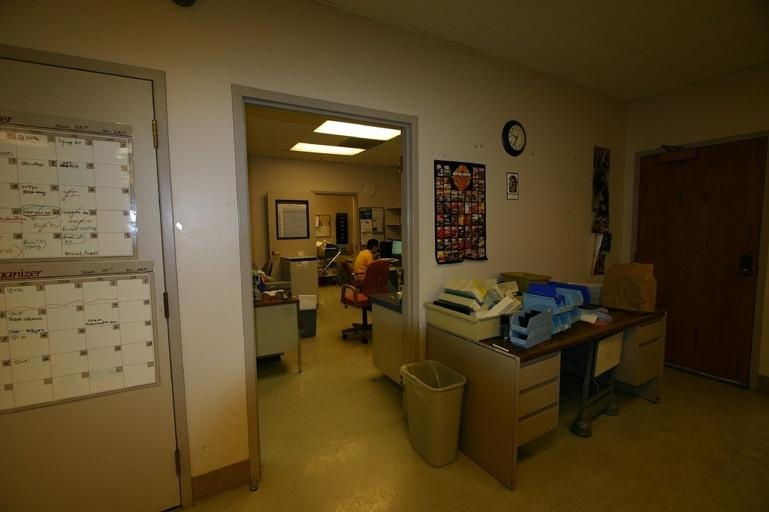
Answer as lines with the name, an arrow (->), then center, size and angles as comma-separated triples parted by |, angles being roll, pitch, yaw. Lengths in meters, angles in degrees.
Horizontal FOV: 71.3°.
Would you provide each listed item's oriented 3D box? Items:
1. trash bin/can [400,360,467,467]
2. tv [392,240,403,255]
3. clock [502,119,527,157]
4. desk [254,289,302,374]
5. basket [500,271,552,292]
trash bin/can -> 0.399, 1.316, 4.503 | 0.362, 0.767, 0.539 | -6, 7, -40
tv -> 0.163, -0.137, 8.141 | 0.052, 0.208, 0.214 | 2, -1, -25
clock -> 1.236, -1.153, 5.164 | 0.360, 0.376, 0.056 | 3, 1, -38
desk -> -1.125, 0.818, 5.697 | 0.479, 0.810, 0.502 | -3, 6, -15
basket -> 1.354, 0.206, 5.090 | 0.276, 0.096, 0.246 | -3, 6, -33
